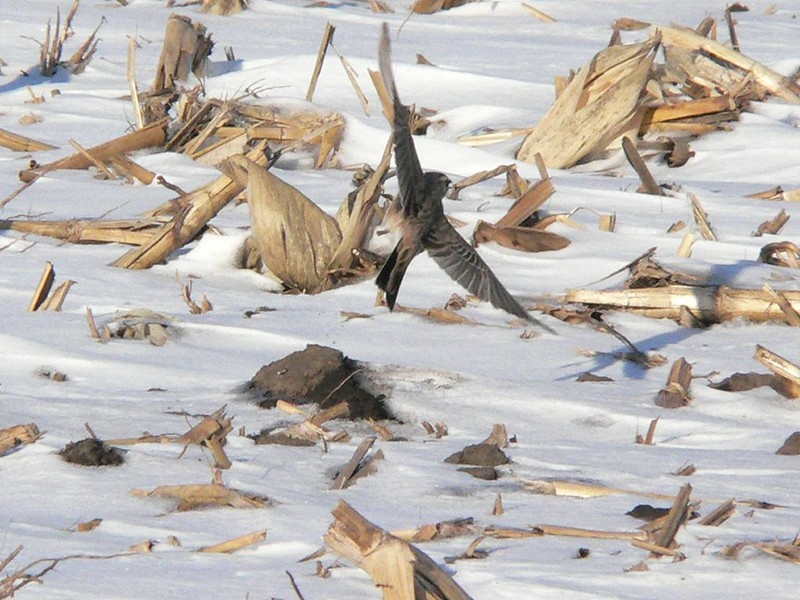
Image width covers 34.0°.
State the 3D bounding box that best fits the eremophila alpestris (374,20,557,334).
[{"bbox_3d":[0.450,-0.861,12.154,1.633,3.445,1.669,-6,43,-13],"label":"eremophila alpestris"}]
